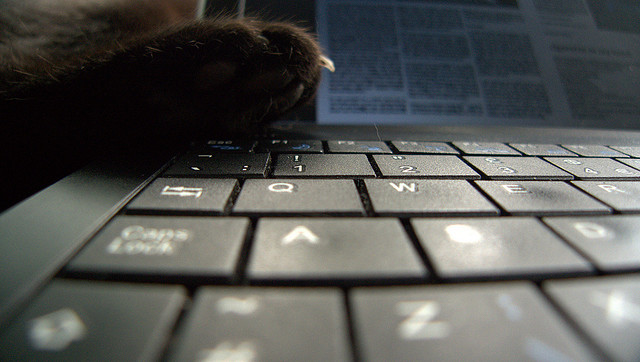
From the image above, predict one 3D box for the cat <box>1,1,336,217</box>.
[{"bbox_3d":[-0.319,-0.193,1.024,0.753,0.448,0.245,-7,-55,-20],"label":"cat"}]
